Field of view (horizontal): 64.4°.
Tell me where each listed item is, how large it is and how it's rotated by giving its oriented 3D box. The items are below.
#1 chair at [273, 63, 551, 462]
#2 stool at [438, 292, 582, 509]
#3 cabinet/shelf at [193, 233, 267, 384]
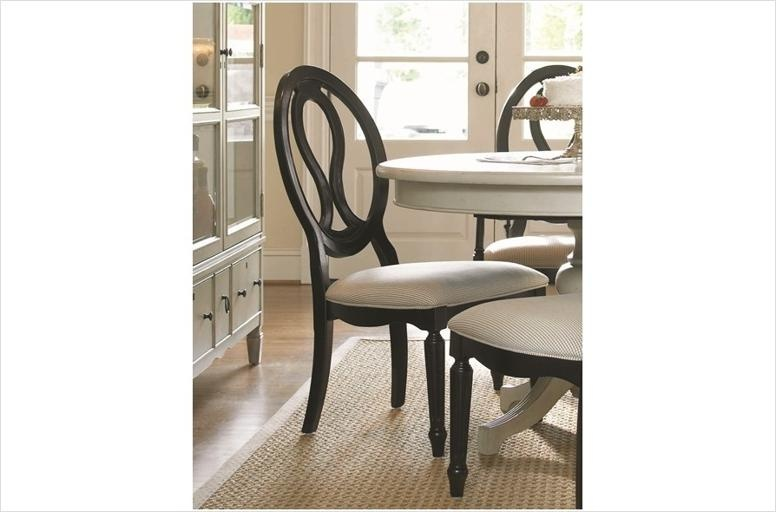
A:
[{"bbox_3d":[0.039,-0.041,2.062,0.829,1.098,0.687,9,14,33],"label":"chair"},{"bbox_3d":[0.281,0.336,1.597,0.488,0.379,0.474,0,2,8],"label":"stool"},{"bbox_3d":[-0.623,0.202,2.411,0.147,0.342,0.622,2,8,5],"label":"cabinet/shelf"}]
